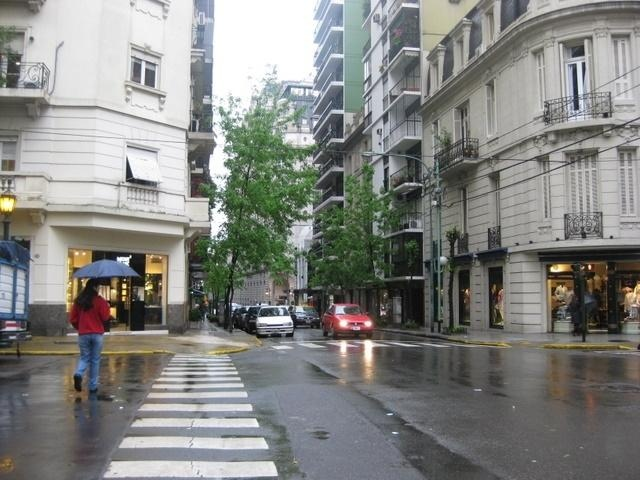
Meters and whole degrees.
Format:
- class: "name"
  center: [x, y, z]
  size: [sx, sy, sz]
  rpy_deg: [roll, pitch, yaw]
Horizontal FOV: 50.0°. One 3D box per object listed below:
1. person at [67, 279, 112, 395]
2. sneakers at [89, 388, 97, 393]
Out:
- class: "person"
  center: [-5.013, 2.071, 14.950]
  size: [0.817, 2.391, 1.081]
  rpy_deg: [0, 0, -22]
- class: "sneakers"
  center: [-4.870, 3.222, 14.760]
  size: [0.172, 0.087, 0.282]
  rpy_deg: [1, -1, -21]
